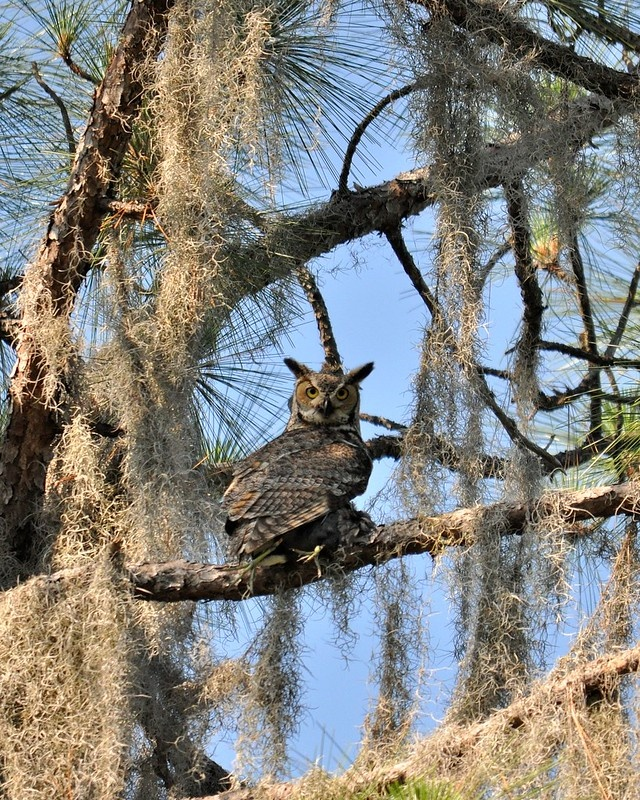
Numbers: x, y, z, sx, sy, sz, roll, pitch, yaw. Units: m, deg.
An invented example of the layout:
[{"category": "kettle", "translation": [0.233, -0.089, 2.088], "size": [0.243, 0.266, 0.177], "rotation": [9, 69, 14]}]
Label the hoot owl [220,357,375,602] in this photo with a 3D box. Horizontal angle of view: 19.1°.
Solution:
[{"category": "hoot owl", "translation": [-0.047, 0.212, 5.965], "size": [0.474, 0.764, 0.387], "rotation": [11, -27, -27]}]
